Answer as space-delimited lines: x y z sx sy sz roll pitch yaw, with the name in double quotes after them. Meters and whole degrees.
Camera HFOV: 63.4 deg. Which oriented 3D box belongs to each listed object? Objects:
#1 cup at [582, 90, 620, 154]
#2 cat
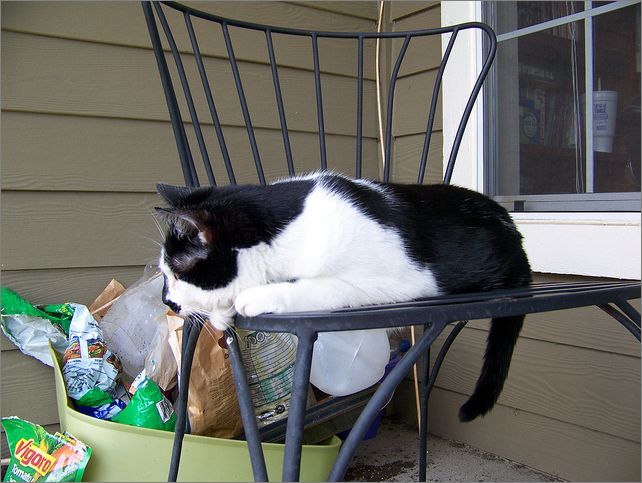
0.823 -0.355 1.514 0.107 0.154 0.054 10 15 40 "cup"
0.069 0.019 1.128 0.806 0.290 0.365 -4 18 -20 "cat"
